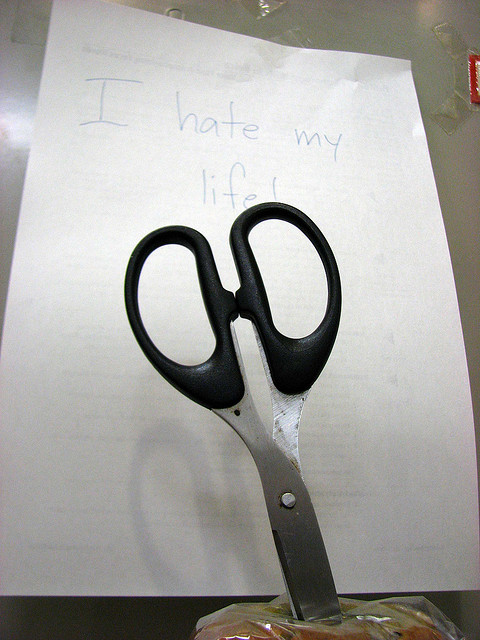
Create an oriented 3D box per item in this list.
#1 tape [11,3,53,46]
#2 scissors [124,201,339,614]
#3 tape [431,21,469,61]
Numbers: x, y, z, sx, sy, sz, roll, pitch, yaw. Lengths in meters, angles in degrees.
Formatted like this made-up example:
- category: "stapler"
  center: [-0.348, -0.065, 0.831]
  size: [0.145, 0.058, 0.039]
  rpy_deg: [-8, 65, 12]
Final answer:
- category: "tape"
  center: [-0.217, -0.309, 0.612]
  size: [0.035, 0.058, 0.011]
  rpy_deg: [2, -12, -3]
- category: "scissors"
  center: [0.024, 0.090, 0.421]
  size: [0.131, 0.347, 0.027]
  rpy_deg: [-14, 20, 0]
- category: "tape"
  center: [0.262, -0.351, 0.738]
  size: [0.032, 0.053, 0.012]
  rpy_deg: [-31, -8, -9]
